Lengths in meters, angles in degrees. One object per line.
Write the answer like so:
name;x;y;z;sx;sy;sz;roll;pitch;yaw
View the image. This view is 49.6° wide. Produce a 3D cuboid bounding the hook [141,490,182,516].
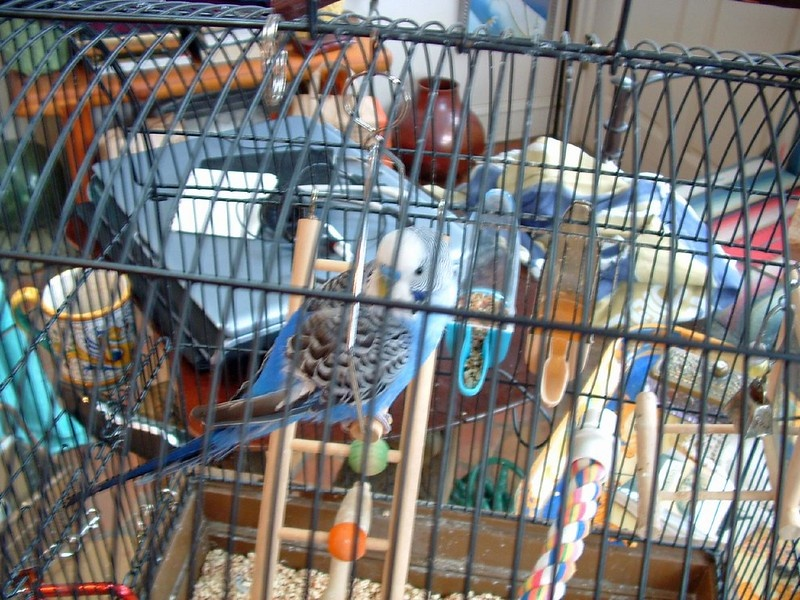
hook;-0.395;0.341;1.427;0.046;0.034;0.018;-38;-41;4
